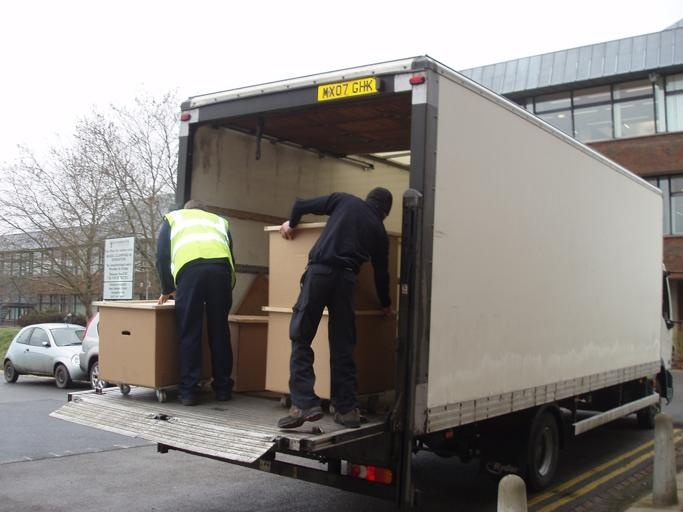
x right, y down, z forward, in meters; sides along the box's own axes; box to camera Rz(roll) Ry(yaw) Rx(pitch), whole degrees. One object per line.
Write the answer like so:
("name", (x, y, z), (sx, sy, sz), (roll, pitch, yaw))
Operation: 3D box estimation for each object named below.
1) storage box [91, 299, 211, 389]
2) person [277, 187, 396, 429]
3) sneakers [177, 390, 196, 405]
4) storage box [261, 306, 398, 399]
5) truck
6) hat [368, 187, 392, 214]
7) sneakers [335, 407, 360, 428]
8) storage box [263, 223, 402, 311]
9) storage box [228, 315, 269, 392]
("storage box", (-2.209, 0.875, 6.769), (0.833, 0.980, 0.874), (-1, -3, 38))
("person", (-0.083, 0.458, 5.759), (0.983, 2.165, 0.728), (0, -3, 1))
("sneakers", (-1.669, 1.472, 6.328), (0.221, 0.130, 0.124), (-1, -4, 15))
("storage box", (-0.100, 1.052, 6.285), (0.979, 0.863, 0.972), (-11, -17, 44))
("truck", (1.638, 0.395, 8.763), (3.794, 4.720, 8.846), (-2, -4, 38))
("hat", (0.365, -0.572, 6.126), (0.189, 0.248, 0.269), (24, 12, -5))
("sneakers", (0.025, 1.441, 5.449), (0.254, 0.146, 0.256), (0, -4, 2))
("storage box", (-0.203, 0.177, 6.529), (0.934, 1.082, 1.048), (-1, -7, 18))
("storage box", (-1.171, 1.172, 7.314), (0.642, 0.758, 0.517), (-3, -9, 18))
